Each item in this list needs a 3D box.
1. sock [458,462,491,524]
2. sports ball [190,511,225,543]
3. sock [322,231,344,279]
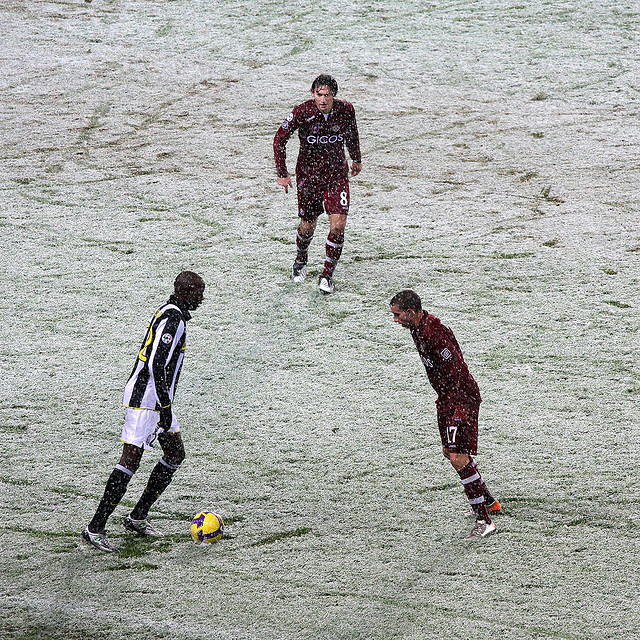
[{"bbox_3d":[1.501,1.537,16.439,0.300,0.578,0.195,-19,8,11],"label":"sock"},{"bbox_3d":[-1.006,1.871,16.367,0.315,0.258,0.273,0,14,-2],"label":"sports ball"},{"bbox_3d":[0.139,-0.732,20.013,0.187,0.422,0.291,18,6,-2],"label":"sock"}]
